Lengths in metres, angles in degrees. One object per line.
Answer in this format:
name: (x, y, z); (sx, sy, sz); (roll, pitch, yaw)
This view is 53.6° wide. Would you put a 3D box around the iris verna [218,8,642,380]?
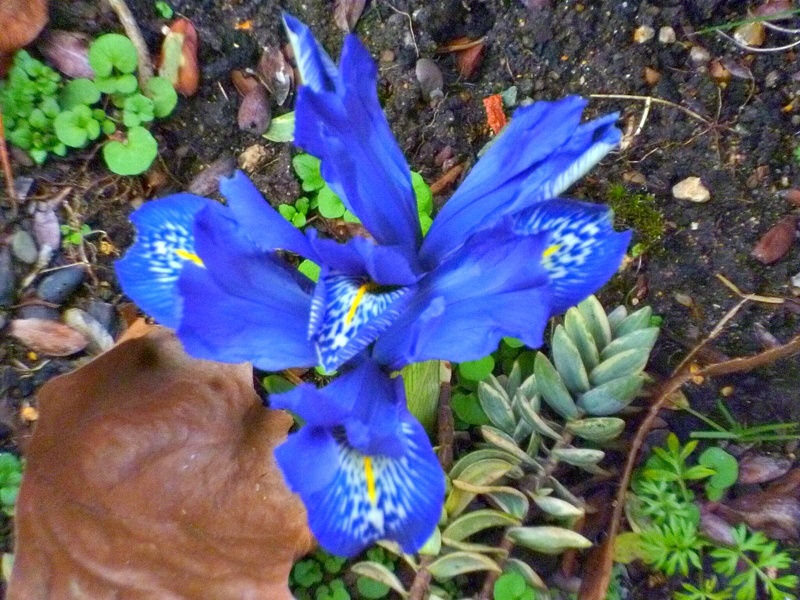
iris verna: (0.144, -0.179, 2.285); (0.847, 0.551, 1.065); (36, 77, 13)
